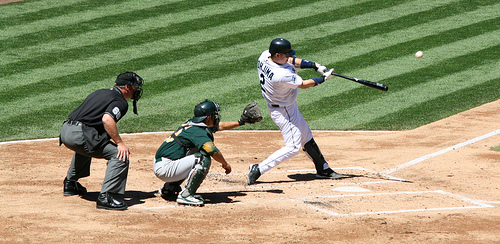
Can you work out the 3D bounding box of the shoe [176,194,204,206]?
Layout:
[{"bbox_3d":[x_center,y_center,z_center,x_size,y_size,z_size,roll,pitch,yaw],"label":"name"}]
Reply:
[{"bbox_3d":[-1.579,2.112,17.675,0.825,0.288,0.247,1,6,1],"label":"shoe"}]

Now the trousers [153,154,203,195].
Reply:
[{"bbox_3d":[-2.053,1.428,18.061,1.268,1.025,1.040,0,1,-38],"label":"trousers"}]

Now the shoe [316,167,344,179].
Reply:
[{"bbox_3d":[2.319,1.498,19.078,0.846,0.246,0.272,0,2,3],"label":"shoe"}]

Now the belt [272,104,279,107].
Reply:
[{"bbox_3d":[0.736,-0.461,18.737,0.232,0.046,0.046,1,36,-2],"label":"belt"}]

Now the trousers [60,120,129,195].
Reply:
[{"bbox_3d":[-4.124,0.978,17.621,1.649,2.076,0.686,4,12,30],"label":"trousers"}]

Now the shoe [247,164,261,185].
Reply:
[{"bbox_3d":[0.143,1.486,18.801,0.377,0.589,0.227,-3,10,-3],"label":"shoe"}]

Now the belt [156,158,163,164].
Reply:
[{"bbox_3d":[-2.413,1.037,17.725,0.231,0.148,0.049,-1,3,2],"label":"belt"}]

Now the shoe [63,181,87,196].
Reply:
[{"bbox_3d":[-4.656,1.834,17.993,0.724,0.346,0.271,-3,9,-28],"label":"shoe"}]

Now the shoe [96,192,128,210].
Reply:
[{"bbox_3d":[-3.636,2.084,17.516,0.961,0.468,0.307,2,17,26],"label":"shoe"}]
